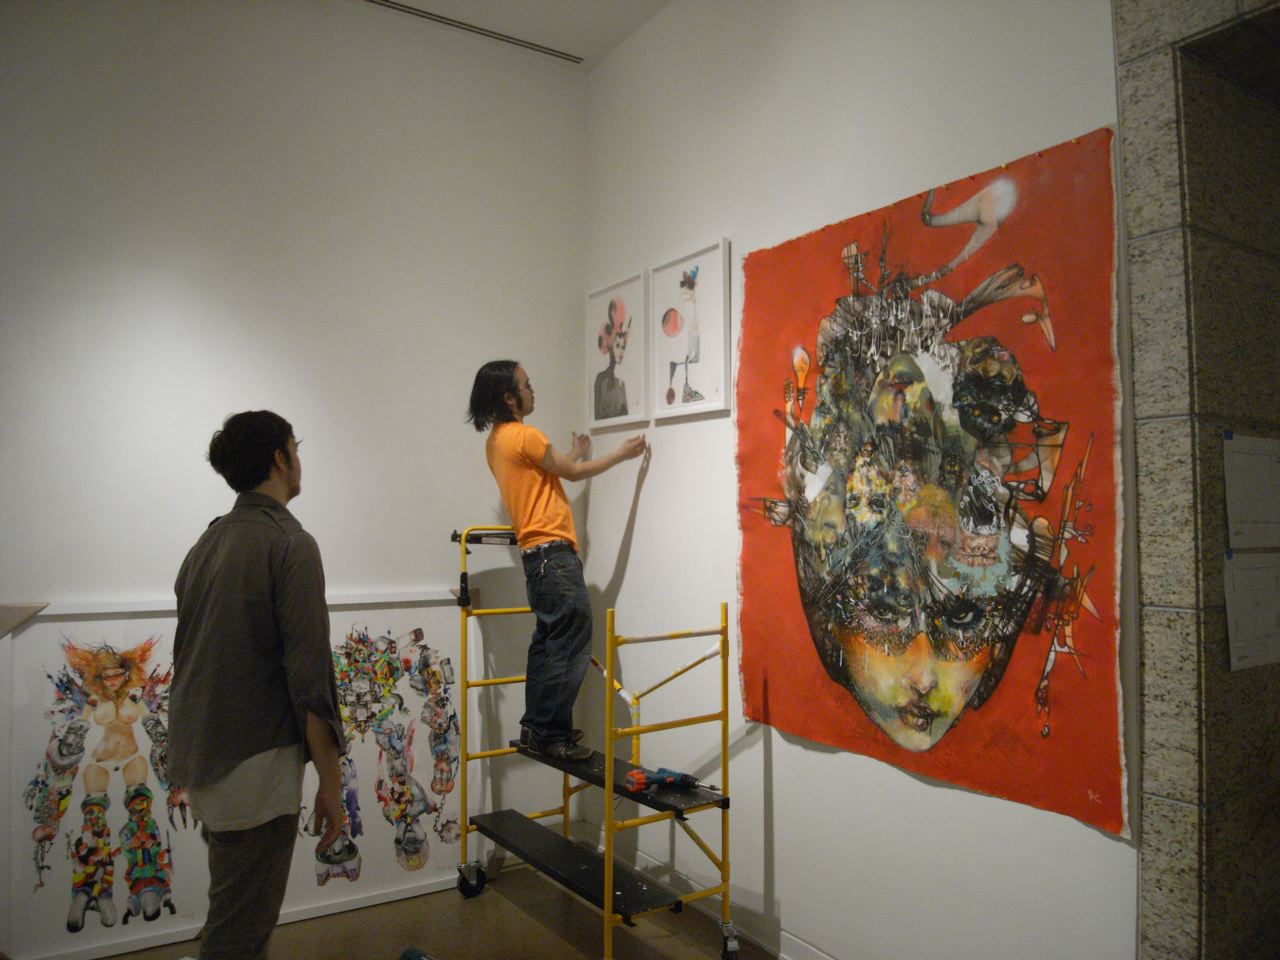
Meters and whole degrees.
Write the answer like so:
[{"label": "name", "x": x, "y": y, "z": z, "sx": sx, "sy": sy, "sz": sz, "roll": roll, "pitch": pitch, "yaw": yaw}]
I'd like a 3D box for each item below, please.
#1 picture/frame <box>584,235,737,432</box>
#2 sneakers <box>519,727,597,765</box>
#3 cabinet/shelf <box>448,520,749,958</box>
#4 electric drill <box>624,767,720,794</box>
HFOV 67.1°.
[{"label": "picture/frame", "x": 0.113, "y": -0.661, "z": 4.396, "sx": 0.034, "sy": 0.626, "sz": 0.892, "roll": 3, "pitch": -5, "yaw": -35}, {"label": "sneakers", "x": -0.346, "y": 1.120, "z": 4.067, "sx": 0.349, "sy": 0.154, "sz": 0.120, "roll": -2, "pitch": -5, "yaw": 42}, {"label": "cabinet/shelf", "x": -0.180, "y": 1.155, "z": 4.197, "sx": 0.624, "sy": 1.722, "sz": 1.470, "roll": 3, "pitch": -5, "yaw": -32}, {"label": "electric drill", "x": 0.121, "y": 1.183, "z": 3.775, "sx": 0.141, "sy": 0.043, "sz": 0.265, "roll": 2, "pitch": -6, "yaw": -33}]
